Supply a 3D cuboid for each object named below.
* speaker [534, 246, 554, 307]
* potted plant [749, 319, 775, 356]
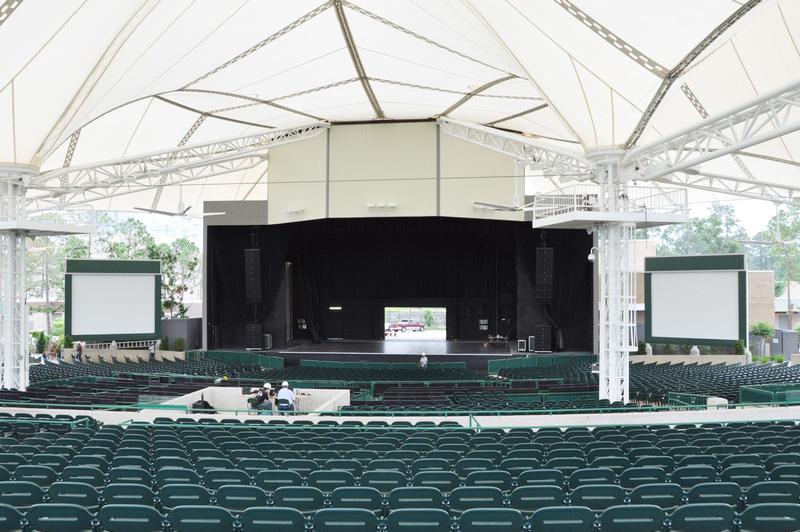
[{"bbox_3d":[8.114,0.585,54.468,0.886,3.047,0.838,0,-4,-3],"label":"speaker"},{"bbox_3d":[23.017,4.656,61.569,1.420,2.079,2.155,-2,-4,19],"label":"potted plant"}]
